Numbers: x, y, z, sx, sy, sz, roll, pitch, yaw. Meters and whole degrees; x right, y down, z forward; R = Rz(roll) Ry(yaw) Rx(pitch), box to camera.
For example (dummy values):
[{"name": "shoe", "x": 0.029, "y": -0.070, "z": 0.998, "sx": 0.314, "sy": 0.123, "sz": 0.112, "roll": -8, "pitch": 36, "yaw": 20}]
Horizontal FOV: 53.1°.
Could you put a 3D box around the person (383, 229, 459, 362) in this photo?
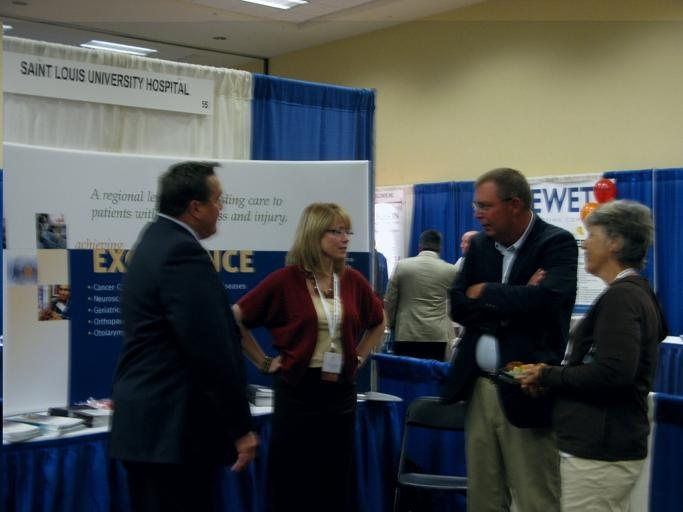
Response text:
[{"name": "person", "x": 0.632, "y": 0.478, "z": 5.538, "sx": 0.550, "sy": 1.454, "sz": 0.472, "roll": 1, "pitch": 22, "yaw": 4}]

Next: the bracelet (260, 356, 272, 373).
[{"name": "bracelet", "x": -0.365, "y": 0.517, "z": 3.282, "sx": 0.025, "sy": 0.067, "sz": 0.047, "roll": 12, "pitch": -5, "yaw": -12}]

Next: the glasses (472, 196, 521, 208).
[{"name": "glasses", "x": 0.674, "y": -0.227, "z": 2.966, "sx": 0.212, "sy": 0.042, "sz": 0.094, "roll": -1, "pitch": 4, "yaw": 23}]

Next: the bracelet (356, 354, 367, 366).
[{"name": "bracelet", "x": 0.105, "y": 0.519, "z": 3.406, "sx": 0.050, "sy": 0.051, "sz": 0.057, "roll": -1, "pitch": -10, "yaw": 16}]
